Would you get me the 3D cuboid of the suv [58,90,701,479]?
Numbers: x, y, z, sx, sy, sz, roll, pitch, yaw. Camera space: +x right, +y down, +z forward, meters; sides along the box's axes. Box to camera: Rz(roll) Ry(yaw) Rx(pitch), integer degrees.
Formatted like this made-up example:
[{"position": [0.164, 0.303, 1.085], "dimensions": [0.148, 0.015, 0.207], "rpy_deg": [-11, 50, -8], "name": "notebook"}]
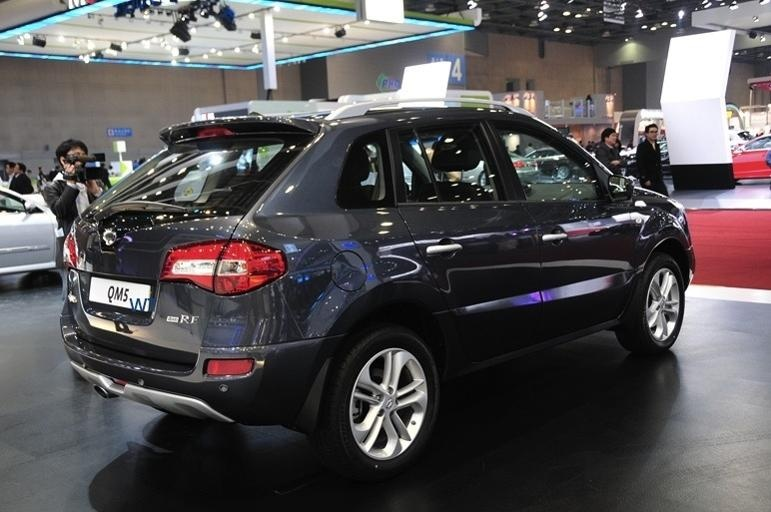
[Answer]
[{"position": [0.092, 0.033, 3.109], "dimensions": [3.753, 2.184, 1.161], "rpy_deg": [-9, 12, -33], "name": "suv"}]
